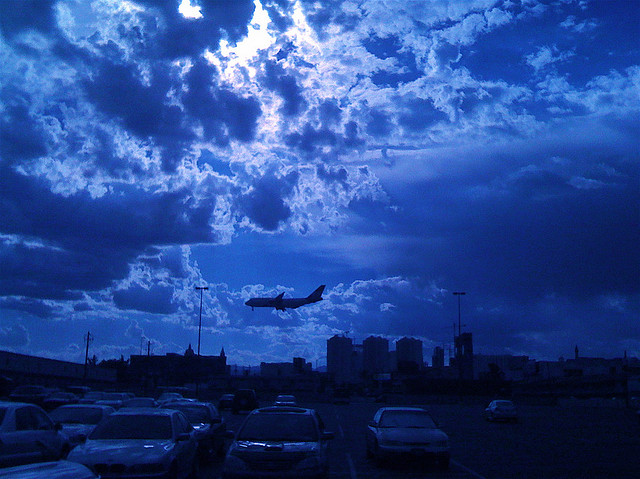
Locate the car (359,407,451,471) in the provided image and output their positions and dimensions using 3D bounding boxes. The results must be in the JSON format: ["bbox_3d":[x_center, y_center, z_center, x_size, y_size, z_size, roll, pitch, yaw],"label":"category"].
[{"bbox_3d":[3.053,7.146,28.596,3.067,2.422,2.055,-16,-23,39],"label":"car"}]

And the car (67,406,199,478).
[{"bbox_3d":[-5.403,6.032,23.572,3.913,2.176,2.217,9,-20,-30],"label":"car"}]

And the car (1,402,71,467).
[{"bbox_3d":[-8.685,5.936,24.445,1.583,1.301,2.679,0,-4,-3],"label":"car"}]

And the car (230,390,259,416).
[{"bbox_3d":[-5.441,12.035,58.594,1.391,1.146,2.366,0,-8,-1],"label":"car"}]

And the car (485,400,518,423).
[{"bbox_3d":[12.141,11.434,52.393,1.530,1.617,2.654,-3,-17,3],"label":"car"}]
